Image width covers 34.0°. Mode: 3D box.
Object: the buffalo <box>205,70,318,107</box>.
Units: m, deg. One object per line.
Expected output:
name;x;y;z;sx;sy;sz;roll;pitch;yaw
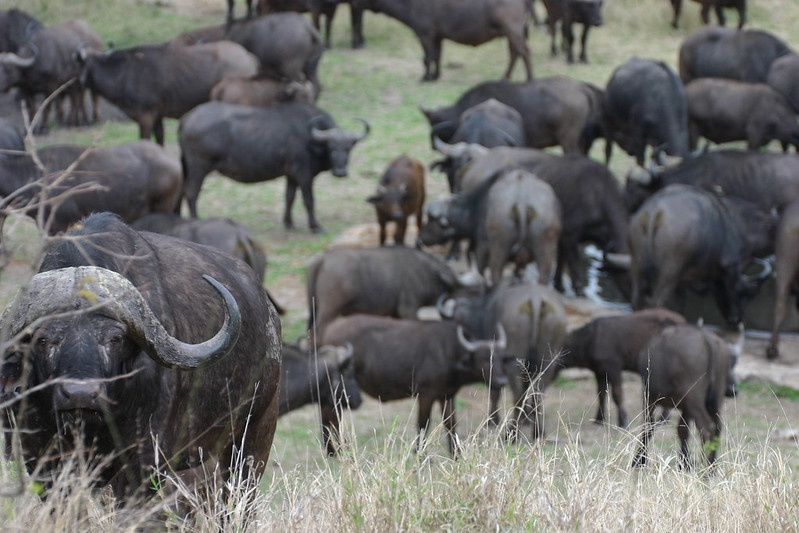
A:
buffalo;-2.205;-2.704;20.031;1.334;0.412;0.688;-10;-2;-20

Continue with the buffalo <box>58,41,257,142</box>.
buffalo;-3.705;-2.649;20.819;3.151;1.721;1.009;0;26;5
